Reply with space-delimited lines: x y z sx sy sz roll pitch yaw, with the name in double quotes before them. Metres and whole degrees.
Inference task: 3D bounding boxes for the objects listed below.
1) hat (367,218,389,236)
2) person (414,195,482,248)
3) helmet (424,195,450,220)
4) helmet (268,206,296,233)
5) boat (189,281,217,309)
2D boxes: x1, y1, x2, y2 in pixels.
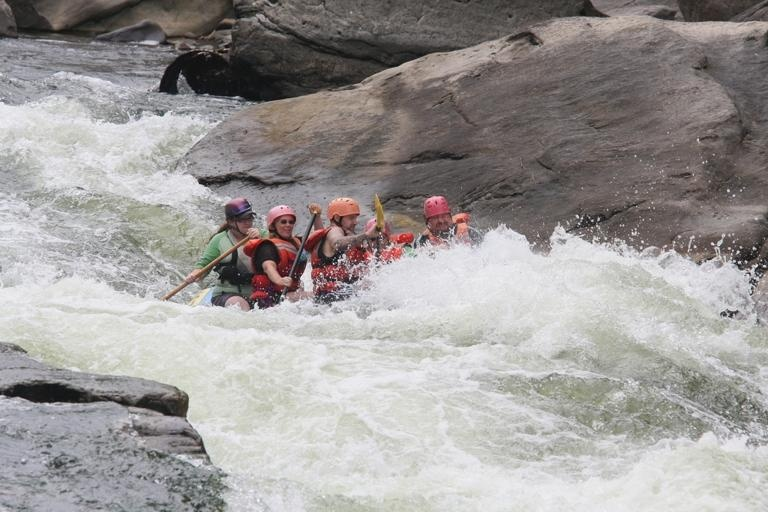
"hat" -0.095 -0.385 16.947 0.304 0.266 0.273 -3 32 3
"person" 0.775 -0.543 17.550 0.979 0.606 1.247 -4 17 -9
"helmet" 0.751 -0.668 17.342 0.383 0.332 0.231 13 23 13
"helmet" -1.483 -0.557 17.391 0.376 0.398 0.254 1 68 -13
"boat" -2.583 0.568 17.447 0.372 0.083 0.281 -12 33 28
